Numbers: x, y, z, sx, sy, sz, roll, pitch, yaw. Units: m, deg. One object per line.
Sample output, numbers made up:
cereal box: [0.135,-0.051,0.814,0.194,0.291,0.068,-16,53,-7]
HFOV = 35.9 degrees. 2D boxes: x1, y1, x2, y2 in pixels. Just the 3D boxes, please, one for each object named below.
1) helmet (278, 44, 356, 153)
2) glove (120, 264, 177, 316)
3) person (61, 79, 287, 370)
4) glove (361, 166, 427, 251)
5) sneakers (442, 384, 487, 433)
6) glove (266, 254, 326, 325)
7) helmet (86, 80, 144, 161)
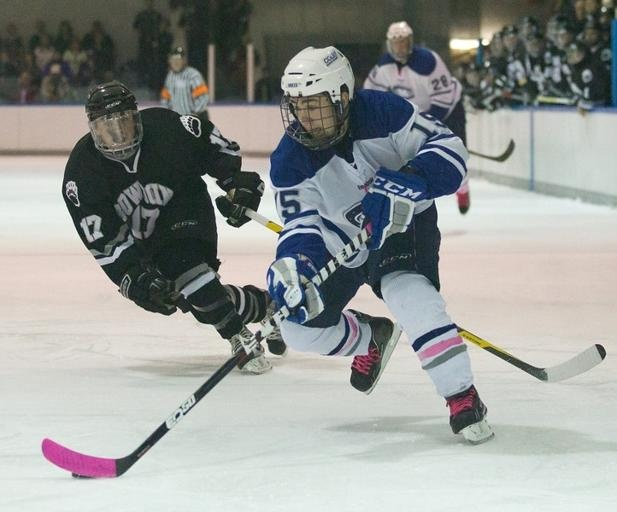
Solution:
helmet: [0.030,-0.529,3.084,0.305,0.255,0.218,-29,29,-31]
glove: [-0.579,0.132,3.453,0.197,0.076,0.180,27,-31,-2]
person: [-0.484,-0.074,3.648,0.728,1.244,0.489,-24,33,-4]
glove: [0.253,-0.155,2.854,0.189,0.248,0.086,22,13,0]
sneakers: [0.479,0.471,2.896,0.116,0.125,0.113,1,14,6]
glove: [-0.026,0.099,3.014,0.170,0.212,0.095,-33,0,12]
helmet: [-0.696,-0.488,3.439,0.201,0.276,0.211,-1,14,1]
